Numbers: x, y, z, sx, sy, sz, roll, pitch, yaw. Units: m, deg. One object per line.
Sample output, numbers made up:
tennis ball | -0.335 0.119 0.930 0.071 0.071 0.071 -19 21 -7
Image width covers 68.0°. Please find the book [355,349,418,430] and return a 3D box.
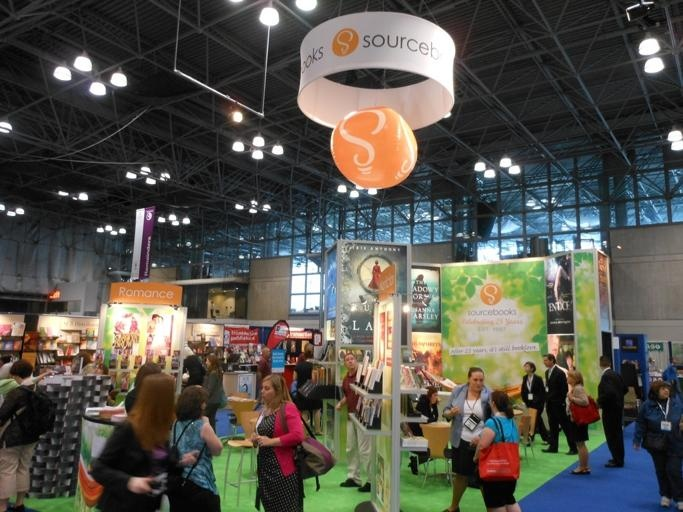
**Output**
book | 0.473 1.204 5.472 0.585 0.603 1.190 1 -9 -1

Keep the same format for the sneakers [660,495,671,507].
sneakers | 3.919 2.991 6.138 0.078 0.107 0.239 -10 -30 25

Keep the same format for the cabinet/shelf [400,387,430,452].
cabinet/shelf | 0.735 1.886 5.573 0.185 0.564 0.507 4 12 -3

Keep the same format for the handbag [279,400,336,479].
handbag | -0.335 1.749 4.824 0.281 0.771 0.537 -23 -20 10

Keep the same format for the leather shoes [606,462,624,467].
leather shoes | 4.229 3.259 7.882 0.268 0.084 0.100 4 -12 -1

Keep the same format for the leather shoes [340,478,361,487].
leather shoes | 0.123 3.060 6.820 0.225 0.104 0.120 3 -10 2

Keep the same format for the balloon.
balloon | 0.344 -1.052 5.126 0.814 0.876 0.812 -6 1 18

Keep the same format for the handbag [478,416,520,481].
handbag | 1.529 1.913 4.917 0.394 0.588 0.198 -19 -44 34
